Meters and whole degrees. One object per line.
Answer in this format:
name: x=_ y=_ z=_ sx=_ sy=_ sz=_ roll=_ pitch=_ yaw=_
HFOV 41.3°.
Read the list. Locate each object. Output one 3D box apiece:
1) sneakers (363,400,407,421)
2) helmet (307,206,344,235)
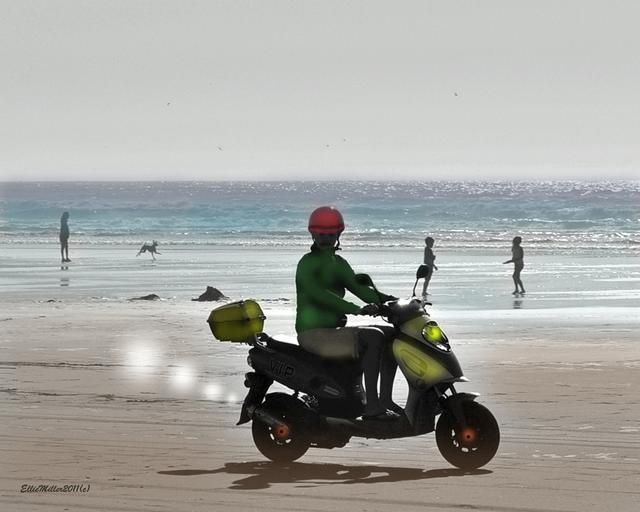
sneakers: x=0.516 y=1.248 z=6.765 sx=0.323 sy=0.081 sz=0.145 roll=-2 pitch=-4 yaw=10
helmet: x=0.054 y=-0.288 z=7.206 sx=0.340 sy=0.180 sz=0.284 roll=1 pitch=3 yaw=5
